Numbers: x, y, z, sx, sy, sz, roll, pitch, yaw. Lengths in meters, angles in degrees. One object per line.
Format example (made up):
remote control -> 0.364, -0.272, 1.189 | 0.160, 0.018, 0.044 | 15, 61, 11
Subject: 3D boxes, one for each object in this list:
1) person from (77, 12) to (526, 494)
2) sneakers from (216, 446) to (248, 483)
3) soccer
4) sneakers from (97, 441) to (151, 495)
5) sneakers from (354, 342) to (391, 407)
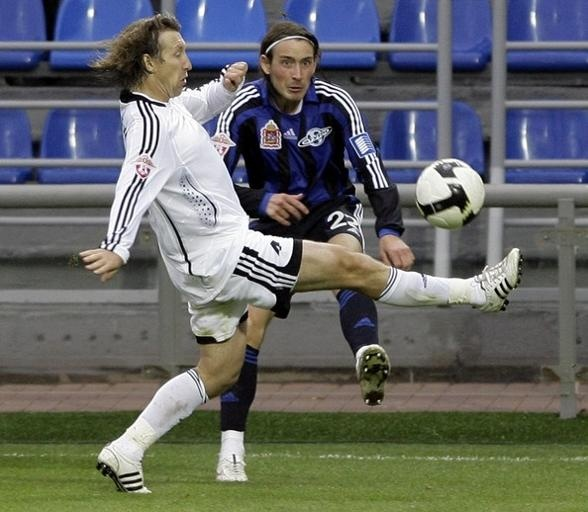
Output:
person -> -0.166, -0.034, 6.326 | 1.651, 2.138, 0.735 | -2, 6, -12
sneakers -> -0.293, 0.990, 6.442 | 0.121, 0.050, 0.146 | -4, 34, 5
soccer -> 0.755, -0.300, 6.795 | 0.408, 0.317, 0.344 | 0, 5, 2
sneakers -> -0.751, 0.954, 6.176 | 0.253, 0.223, 0.194 | 0, 6, 5
sneakers -> 0.352, 0.575, 6.482 | 0.157, 0.264, 0.163 | 4, 4, -5
